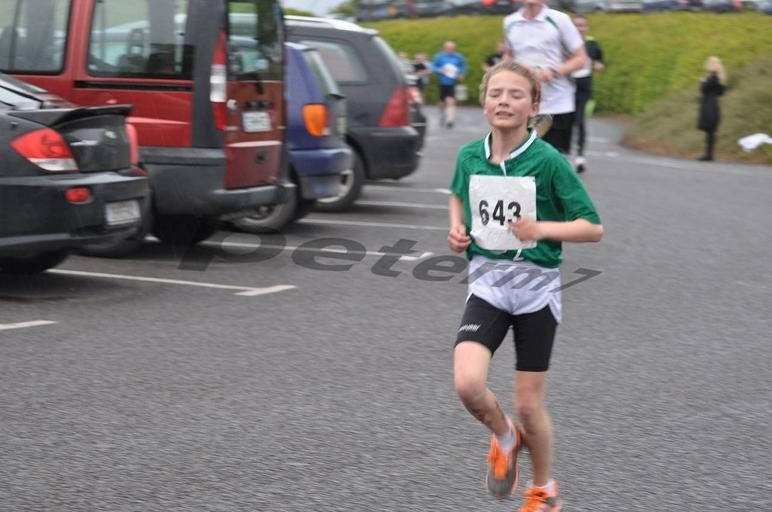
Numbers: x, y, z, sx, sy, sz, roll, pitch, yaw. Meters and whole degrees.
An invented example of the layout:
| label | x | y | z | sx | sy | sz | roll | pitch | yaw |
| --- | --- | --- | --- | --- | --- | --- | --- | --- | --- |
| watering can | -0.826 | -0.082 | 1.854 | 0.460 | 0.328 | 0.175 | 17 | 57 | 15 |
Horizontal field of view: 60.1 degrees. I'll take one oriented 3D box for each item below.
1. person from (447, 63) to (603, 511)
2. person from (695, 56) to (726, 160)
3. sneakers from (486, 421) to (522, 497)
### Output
| label | x | y | z | sx | sy | sz | roll | pitch | yaw |
| --- | --- | --- | --- | --- | --- | --- | --- | --- | --- |
| person | 0.561 | 0.157 | 2.839 | 0.623 | 1.929 | 0.715 | 3 | 17 | 4 |
| person | 7.327 | -3.364 | 15.259 | 0.546 | 2.351 | 0.963 | 8 | 18 | 20 |
| sneakers | 0.501 | 0.862 | 2.874 | 0.164 | 0.319 | 0.158 | 6 | 5 | 13 |
